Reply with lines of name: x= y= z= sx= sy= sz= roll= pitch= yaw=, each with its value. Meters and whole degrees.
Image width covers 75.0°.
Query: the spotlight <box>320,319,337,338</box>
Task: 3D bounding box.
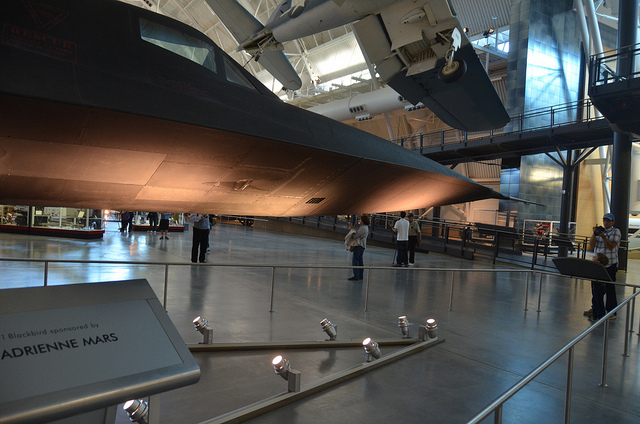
spotlight: x=0.129 y=1.807 z=6.484 sx=0.211 sy=0.307 sz=0.186 roll=5 pitch=7 yaw=5

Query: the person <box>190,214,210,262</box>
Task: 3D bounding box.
person: x=-3.329 y=0.724 z=11.495 sx=0.432 sy=1.423 sz=0.818 roll=3 pitch=7 yaw=-17

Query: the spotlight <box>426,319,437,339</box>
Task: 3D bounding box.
spotlight: x=1.863 y=1.915 z=6.929 sx=0.165 sy=0.274 sz=0.275 roll=7 pitch=7 yaw=24

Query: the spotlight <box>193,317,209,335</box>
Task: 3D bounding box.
spotlight: x=-1.786 y=1.682 z=6.203 sx=0.183 sy=0.283 sz=0.208 roll=5 pitch=6 yaw=1

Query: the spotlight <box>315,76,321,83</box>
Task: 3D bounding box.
spotlight: x=-0.185 y=-9.746 z=30.399 sx=0.441 sy=0.438 sz=0.340 roll=4 pitch=6 yaw=-3

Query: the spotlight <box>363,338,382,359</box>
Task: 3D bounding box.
spotlight: x=0.744 y=1.929 z=5.883 sx=0.251 sy=0.288 sz=0.117 roll=2 pitch=7 yaw=-22

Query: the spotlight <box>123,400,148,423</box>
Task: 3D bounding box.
spotlight: x=-1.678 y=1.801 z=3.781 sx=0.186 sy=0.234 sz=0.131 roll=-1 pitch=9 yaw=-42

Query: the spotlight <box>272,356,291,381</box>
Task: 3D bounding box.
spotlight: x=-0.481 y=1.878 z=5.008 sx=0.207 sy=0.319 sz=0.147 roll=3 pitch=7 yaw=-17

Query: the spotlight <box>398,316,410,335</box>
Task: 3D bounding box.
spotlight: x=1.406 y=1.876 z=6.969 sx=0.159 sy=0.291 sz=0.283 roll=7 pitch=7 yaw=17
